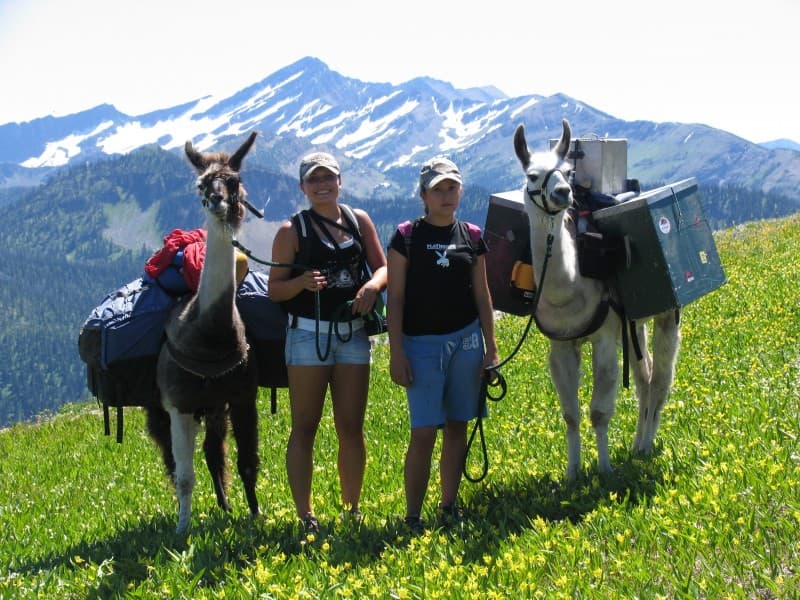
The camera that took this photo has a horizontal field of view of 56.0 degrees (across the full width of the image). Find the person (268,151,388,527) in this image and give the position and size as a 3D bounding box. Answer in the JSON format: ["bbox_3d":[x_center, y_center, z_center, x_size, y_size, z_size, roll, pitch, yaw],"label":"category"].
[{"bbox_3d":[-0.901,0.547,9.350,1.364,4.665,0.848,-2,9,-12],"label":"person"}]

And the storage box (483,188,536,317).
[{"bbox_3d":[1.705,-0.724,10.770,0.873,1.685,1.159,3,22,9],"label":"storage box"}]

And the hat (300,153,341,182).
[{"bbox_3d":[-0.988,-1.625,9.244,0.467,0.347,0.289,-3,10,-14],"label":"hat"}]

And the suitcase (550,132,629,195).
[{"bbox_3d":[2.817,-1.940,10.772,0.941,0.945,0.751,6,14,21],"label":"suitcase"}]

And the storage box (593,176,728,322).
[{"bbox_3d":[3.560,-0.633,10.567,1.177,1.511,1.463,-17,-3,-33],"label":"storage box"}]

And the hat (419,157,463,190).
[{"bbox_3d":[0.471,-1.518,9.009,0.487,0.374,0.446,0,10,1],"label":"hat"}]

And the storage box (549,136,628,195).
[{"bbox_3d":[2.759,-2.000,11.071,0.785,1.110,1.033,-33,25,-27],"label":"storage box"}]
